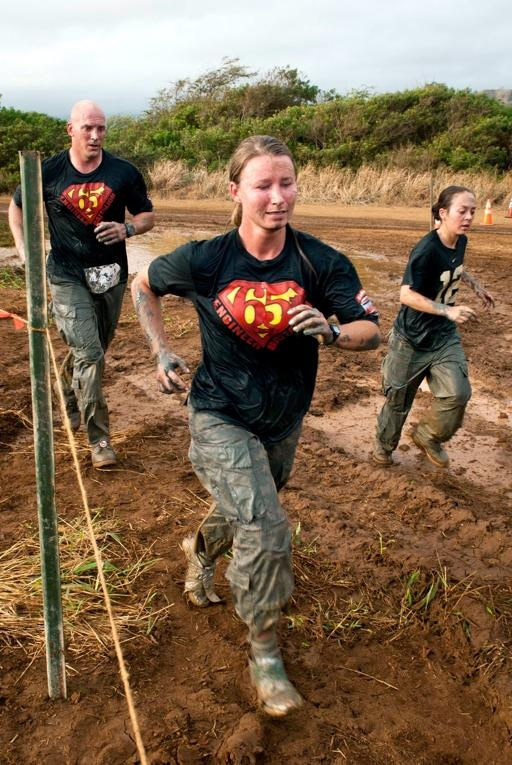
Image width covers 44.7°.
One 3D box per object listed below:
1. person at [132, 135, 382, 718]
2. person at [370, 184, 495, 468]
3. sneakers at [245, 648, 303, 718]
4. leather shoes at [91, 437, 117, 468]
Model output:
[{"bbox_3d":[0.045,0.087,2.369,0.763,1.920,1.224,-9,25,-22],"label":"person"},{"bbox_3d":[1.226,-0.283,4.277,0.658,2.023,0.876,6,24,11],"label":"person"},{"bbox_3d":[0.059,1.051,2.226,0.138,0.187,0.278,-4,-2,-20],"label":"sneakers"},{"bbox_3d":[-0.992,0.461,4.066,0.155,0.146,0.175,-5,23,-17],"label":"leather shoes"}]
